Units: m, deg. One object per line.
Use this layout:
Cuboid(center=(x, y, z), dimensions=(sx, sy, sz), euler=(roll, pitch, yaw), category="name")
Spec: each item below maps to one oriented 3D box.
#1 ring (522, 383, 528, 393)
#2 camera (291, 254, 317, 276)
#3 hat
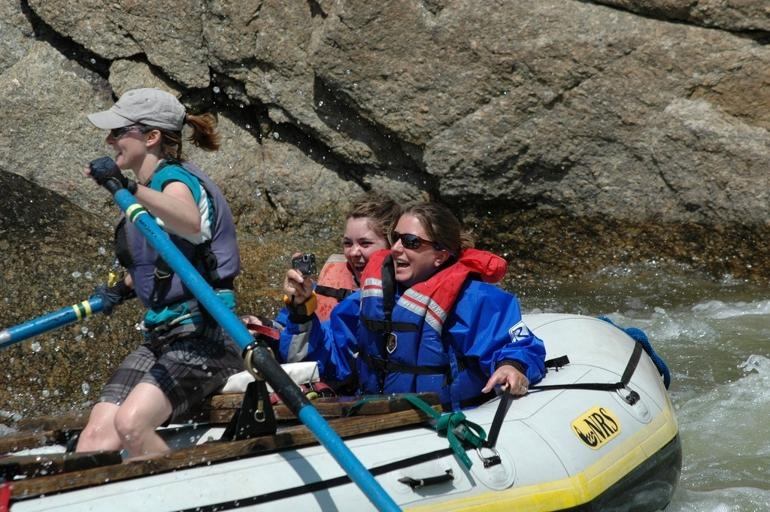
Cuboid(center=(1.012, 0.952, 7.135), dimensions=(0.050, 0.062, 0.020), euler=(-1, 1, -10), category="ring")
Cuboid(center=(-0.603, 0.063, 7.252), dimensions=(0.179, 0.162, 0.099), euler=(1, 7, 18), category="camera")
Cuboid(center=(-1.790, -1.085, 7.180), dimensions=(0.738, 0.299, 0.454), euler=(-3, 19, -21), category="hat")
